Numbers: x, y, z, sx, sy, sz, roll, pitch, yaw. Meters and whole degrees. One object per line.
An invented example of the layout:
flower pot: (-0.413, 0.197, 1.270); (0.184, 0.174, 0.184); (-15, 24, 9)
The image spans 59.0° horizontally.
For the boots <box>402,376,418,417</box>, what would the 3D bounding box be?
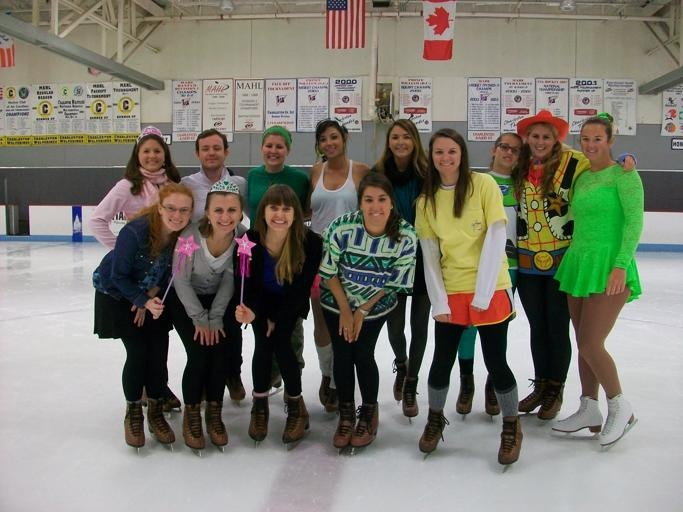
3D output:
boots: (0.480, 0.982, 4.229); (0.089, 0.117, 0.270); (0, 50, 2)

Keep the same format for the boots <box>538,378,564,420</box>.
boots: (1.459, 1.002, 4.197); (0.122, 0.226, 0.319); (3, 8, 24)

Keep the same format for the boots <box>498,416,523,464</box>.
boots: (1.045, 1.148, 3.716); (0.110, 0.199, 0.336); (-5, 5, 20)

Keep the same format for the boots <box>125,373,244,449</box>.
boots: (-1.002, 0.937, 3.896); (0.490, 0.338, 0.383); (4, -4, -18)

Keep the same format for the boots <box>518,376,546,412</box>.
boots: (1.357, 0.978, 4.287); (0.299, 0.219, 0.100); (-9, 15, -26)

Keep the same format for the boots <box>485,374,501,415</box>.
boots: (1.057, 1.011, 4.251); (0.111, 0.348, 0.138); (0, -9, 13)

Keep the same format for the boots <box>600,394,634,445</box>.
boots: (1.749, 1.048, 3.835); (0.178, 0.333, 0.117); (4, 8, 17)

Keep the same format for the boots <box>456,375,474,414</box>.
boots: (0.888, 0.967, 4.302); (0.107, 0.227, 0.333); (1, 15, 21)
